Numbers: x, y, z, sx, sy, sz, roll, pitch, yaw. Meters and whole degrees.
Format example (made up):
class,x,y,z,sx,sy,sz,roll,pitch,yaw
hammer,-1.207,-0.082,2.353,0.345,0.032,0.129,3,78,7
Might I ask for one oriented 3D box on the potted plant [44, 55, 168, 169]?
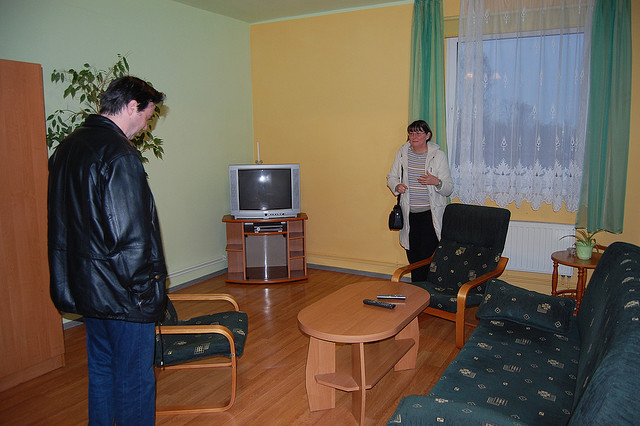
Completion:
class,x,y,z,sx,sy,sz,roll,pitch,yaw
potted plant,-2.247,-1.062,4.803,0.561,0.952,0.677,-15,7,-16

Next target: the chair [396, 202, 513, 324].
class,x,y,z,sx,sy,sz,roll,pitch,yaw
chair,1.304,0.552,4.619,0.905,1.202,0.784,-8,15,-43

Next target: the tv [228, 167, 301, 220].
class,x,y,z,sx,sy,sz,roll,pitch,yaw
tv,-0.722,-0.034,6.210,0.993,0.838,0.602,0,2,-4

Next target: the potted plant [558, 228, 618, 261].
class,x,y,z,sx,sy,sz,roll,pitch,yaw
potted plant,2.668,0.317,4.769,0.383,0.276,0.396,1,2,-10

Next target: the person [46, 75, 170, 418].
class,x,y,z,sx,sy,sz,roll,pitch,yaw
person,-1.389,0.253,3.058,0.735,2.235,0.421,-5,8,-16

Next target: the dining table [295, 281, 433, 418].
class,x,y,z,sx,sy,sz,roll,pitch,yaw
dining table,0.393,1.186,4.036,0.885,0.782,1.323,3,10,36

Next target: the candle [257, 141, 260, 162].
class,x,y,z,sx,sy,sz,roll,pitch,yaw
candle,-0.918,-0.921,6.918,0.036,0.247,0.014,-2,8,6

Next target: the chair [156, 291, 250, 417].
class,x,y,z,sx,sy,sz,roll,pitch,yaw
chair,-0.905,1.197,4.113,0.958,0.989,0.883,0,11,-7

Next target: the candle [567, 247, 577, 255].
class,x,y,z,sx,sy,sz,roll,pitch,yaw
candle,2.572,0.393,4.766,0.066,0.084,0.070,-1,7,1

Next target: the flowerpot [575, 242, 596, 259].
class,x,y,z,sx,sy,sz,roll,pitch,yaw
flowerpot,2.585,0.367,4.571,0.146,0.131,0.155,1,0,6
